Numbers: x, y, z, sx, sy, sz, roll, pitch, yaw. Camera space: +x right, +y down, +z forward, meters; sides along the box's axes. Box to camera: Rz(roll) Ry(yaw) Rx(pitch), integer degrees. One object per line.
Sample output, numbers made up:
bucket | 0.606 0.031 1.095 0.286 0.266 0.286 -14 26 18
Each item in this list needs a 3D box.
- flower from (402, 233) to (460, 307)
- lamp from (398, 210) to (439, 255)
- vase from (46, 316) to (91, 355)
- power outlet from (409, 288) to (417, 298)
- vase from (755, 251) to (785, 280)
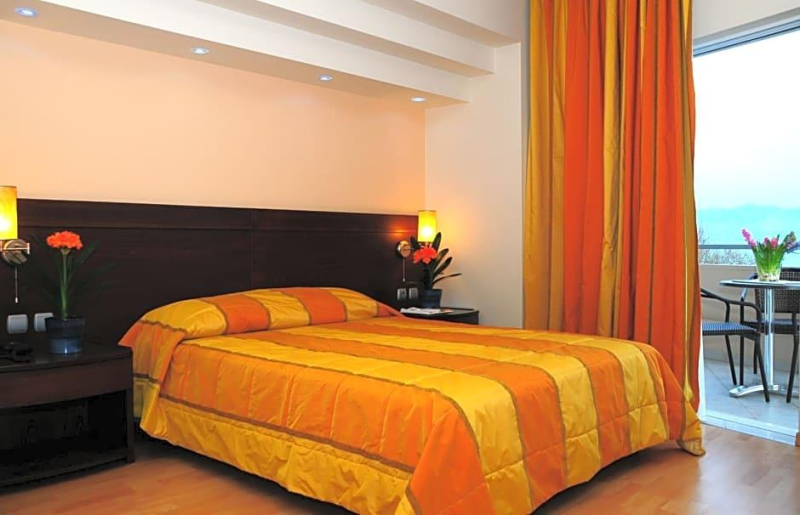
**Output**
flower | 0.312 0.139 5.892 0.690 0.810 0.811 -6 -10 22
lamp | 0.200 -0.266 5.905 0.474 0.467 0.320 -2 12 -5
vase | -2.362 0.557 3.886 0.334 0.241 0.328 0 -7 -41
power outlet | 0.134 0.376 5.848 0.105 0.097 0.055 -2 5 -40
vase | 3.164 0.076 4.720 0.217 0.214 0.220 2 0 40
